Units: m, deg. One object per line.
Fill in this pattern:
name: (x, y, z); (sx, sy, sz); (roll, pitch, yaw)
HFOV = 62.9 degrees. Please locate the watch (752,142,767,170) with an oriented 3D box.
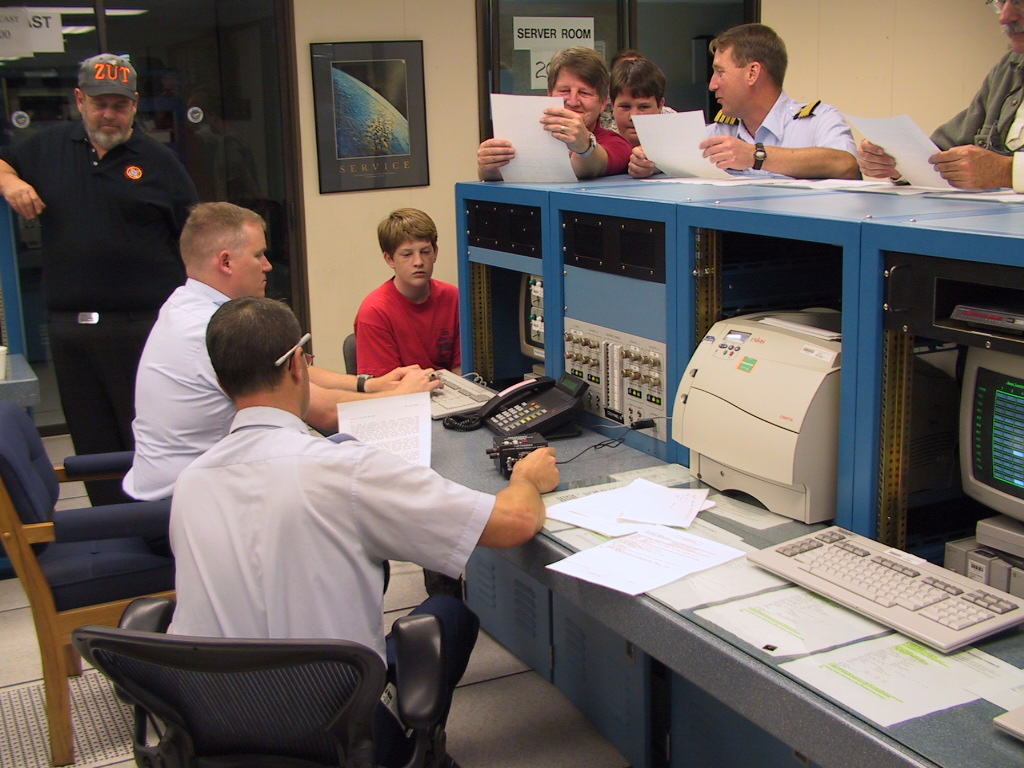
watch: (0.809, -0.736, 2.722); (0.029, 0.081, 0.113); (5, 18, 21)

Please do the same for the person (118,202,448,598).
person: (-0.896, 0.146, 3.034); (1.091, 1.575, 0.658); (-12, 31, -44)

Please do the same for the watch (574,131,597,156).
watch: (0.262, -0.831, 2.905); (0.063, 0.082, 0.084); (-1, -13, -9)

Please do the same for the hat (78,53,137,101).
hat: (-1.684, -1.296, 3.529); (0.209, 0.177, 0.244); (9, 20, 31)

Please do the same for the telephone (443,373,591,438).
telephone: (0.027, 0.076, 2.634); (0.238, 0.102, 0.272); (-5, 6, -21)

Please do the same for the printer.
printer: (0.693, -0.005, 2.136); (0.429, 0.488, 0.484); (-11, 17, -25)

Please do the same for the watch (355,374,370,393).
watch: (-0.535, -0.002, 3.028); (0.034, 0.063, 0.056); (6, -3, 10)

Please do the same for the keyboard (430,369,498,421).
keyboard: (-0.182, 0.043, 2.897); (0.138, 0.046, 0.260); (-13, 26, -24)

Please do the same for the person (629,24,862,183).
person: (1.067, -1.172, 3.552); (0.601, 0.635, 0.947); (-19, 28, 1)

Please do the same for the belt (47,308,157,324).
belt: (-1.759, -0.286, 3.599); (0.287, 0.061, 0.046); (-2, 28, -12)
